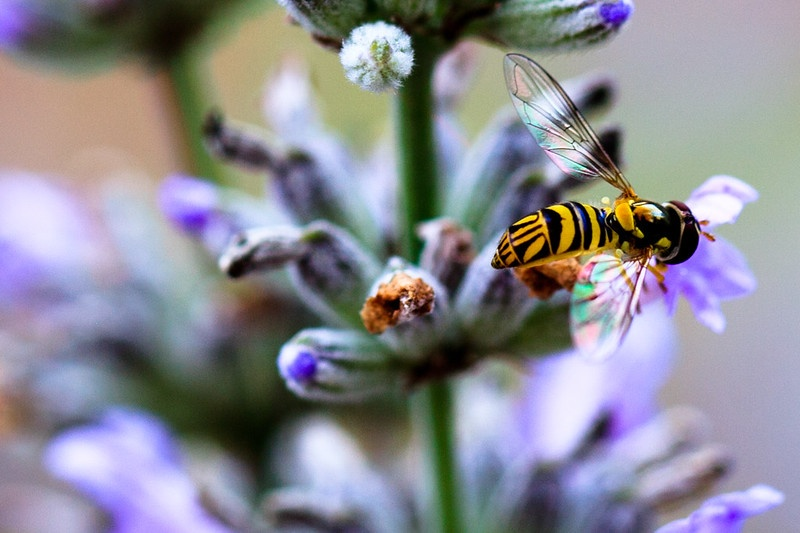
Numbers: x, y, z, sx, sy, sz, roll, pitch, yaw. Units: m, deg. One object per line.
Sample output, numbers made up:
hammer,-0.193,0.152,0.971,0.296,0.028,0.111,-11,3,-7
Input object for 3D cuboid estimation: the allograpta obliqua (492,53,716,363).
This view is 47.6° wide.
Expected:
allograpta obliqua,0.426,-0.115,1.975,0.377,0.309,0.700,2,6,43
